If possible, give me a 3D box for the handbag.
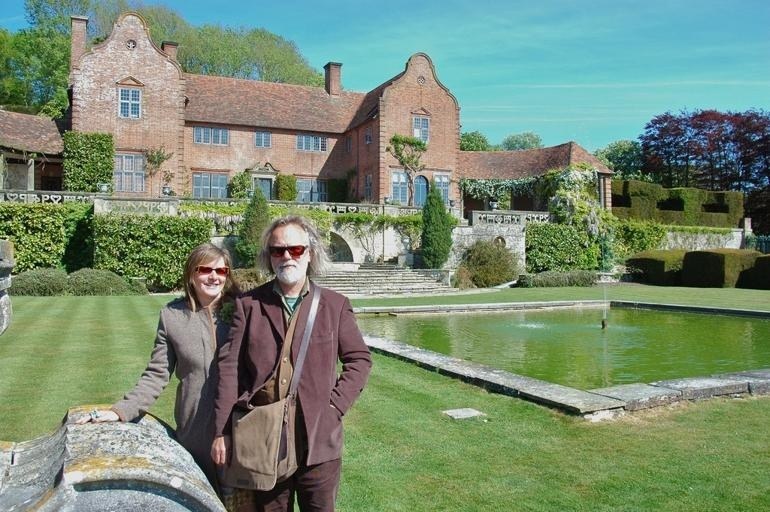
[{"bbox_3d":[-1.257,1.836,6.558,0.885,0.970,0.446,-2,-11,8],"label":"handbag"}]
